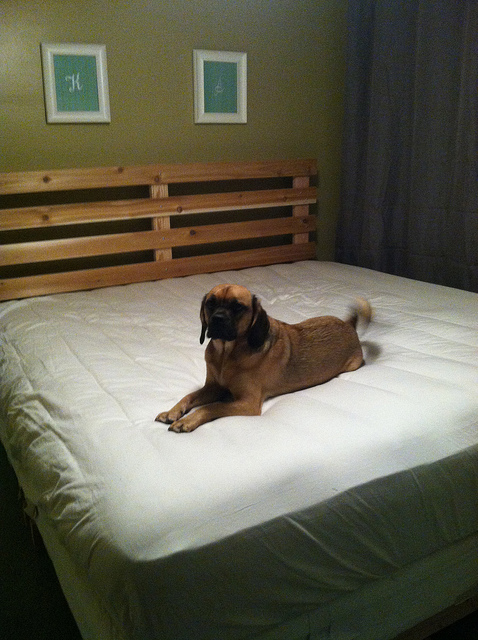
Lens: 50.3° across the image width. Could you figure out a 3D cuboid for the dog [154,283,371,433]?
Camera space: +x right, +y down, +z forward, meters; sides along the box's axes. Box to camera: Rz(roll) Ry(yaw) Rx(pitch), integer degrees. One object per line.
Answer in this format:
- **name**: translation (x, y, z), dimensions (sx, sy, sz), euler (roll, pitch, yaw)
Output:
- **dog**: translation (0.105, 0.066, 1.326), dimensions (0.707, 0.332, 0.218), euler (-8, 14, -40)
